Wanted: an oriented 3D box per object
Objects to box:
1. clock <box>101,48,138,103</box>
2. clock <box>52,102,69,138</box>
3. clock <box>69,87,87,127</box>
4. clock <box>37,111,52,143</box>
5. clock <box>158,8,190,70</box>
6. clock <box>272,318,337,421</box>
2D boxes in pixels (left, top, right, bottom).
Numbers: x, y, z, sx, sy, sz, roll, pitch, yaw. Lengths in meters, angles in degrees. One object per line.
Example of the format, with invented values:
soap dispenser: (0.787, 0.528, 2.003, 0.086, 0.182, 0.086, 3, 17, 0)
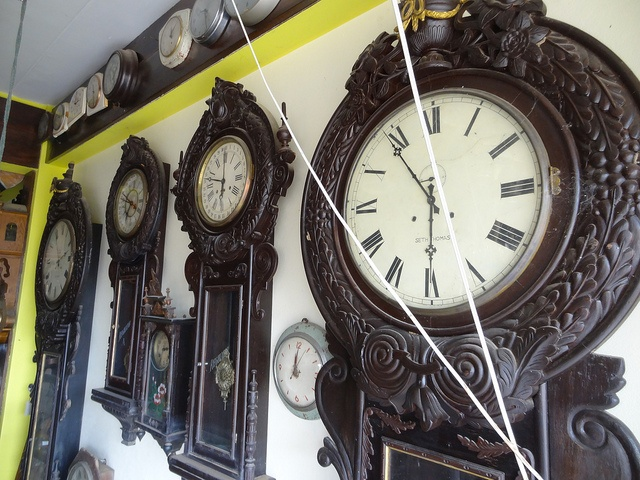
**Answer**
clock: (-1.267, -1.034, 4.330, 0.309, 0.361, 0.122, -17, -22, 42)
clock: (-1.876, -0.860, 4.926, 0.045, 0.239, 0.205, 3, -1, -39)
clock: (-1.691, -0.905, 4.768, 0.033, 0.301, 0.214, 17, -23, -42)
clock: (-2.088, -0.844, 5.174, 0.178, 0.207, 0.044, -3, -2, 44)
clock: (-0.840, -1.144, 3.953, 0.057, 0.410, 0.267, 16, -22, -41)
clock: (-0.065, 0.637, 3.357, 0.365, 0.507, 0.059, -15, -17, 38)
